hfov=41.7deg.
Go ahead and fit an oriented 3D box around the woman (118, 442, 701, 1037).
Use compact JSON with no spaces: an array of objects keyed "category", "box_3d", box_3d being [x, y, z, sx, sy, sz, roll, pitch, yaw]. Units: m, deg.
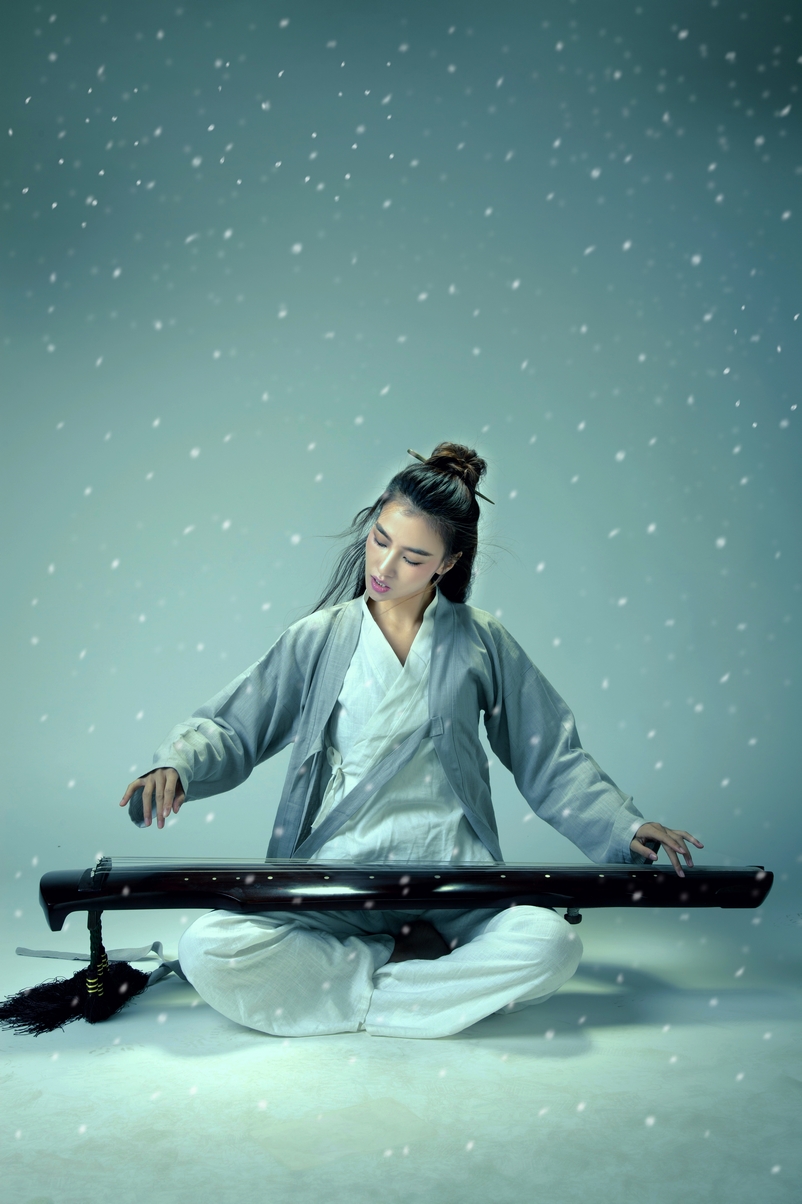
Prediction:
[{"category":"woman","box_3d":[0.020,0.284,2.231,1.314,1.110,0.659,2,14,-1]}]
